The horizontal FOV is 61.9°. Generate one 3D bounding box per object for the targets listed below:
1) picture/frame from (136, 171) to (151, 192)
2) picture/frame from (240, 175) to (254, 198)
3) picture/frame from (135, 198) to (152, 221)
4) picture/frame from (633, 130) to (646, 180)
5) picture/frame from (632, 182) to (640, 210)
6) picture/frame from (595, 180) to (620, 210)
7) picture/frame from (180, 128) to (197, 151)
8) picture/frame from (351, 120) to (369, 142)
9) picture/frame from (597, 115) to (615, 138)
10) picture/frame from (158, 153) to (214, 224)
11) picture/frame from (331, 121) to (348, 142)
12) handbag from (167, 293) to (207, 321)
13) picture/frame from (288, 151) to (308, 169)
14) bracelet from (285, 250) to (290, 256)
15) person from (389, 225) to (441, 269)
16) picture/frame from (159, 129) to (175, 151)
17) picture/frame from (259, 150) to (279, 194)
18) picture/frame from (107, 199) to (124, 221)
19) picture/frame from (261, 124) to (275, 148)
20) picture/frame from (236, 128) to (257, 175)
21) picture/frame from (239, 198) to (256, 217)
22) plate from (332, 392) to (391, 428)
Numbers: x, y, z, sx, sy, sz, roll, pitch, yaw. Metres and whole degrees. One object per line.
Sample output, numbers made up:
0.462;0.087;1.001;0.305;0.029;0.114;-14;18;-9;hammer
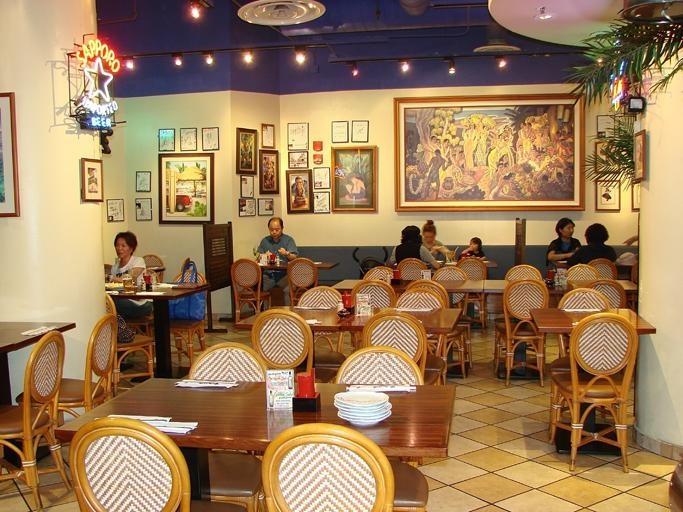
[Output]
-3.459;-1.331;10.034;0.367;0.436;0.033;2;2;8;picture/frame
-1.619;-1.220;9.926;0.061;0.383;0.351;3;8;30;picture/frame
-3.466;-0.848;10.061;0.398;0.495;0.035;3;11;11;picture/frame
2.466;-0.823;4.693;0.067;0.410;0.387;2;7;22;picture/frame
5.209;-1.020;10.055;0.098;0.445;0.249;4;9;36;picture/frame
4.699;-1.046;9.988;0.426;0.519;0.169;1;8;19;picture/frame
-2.597;-2.015;9.780;0.415;0.475;0.018;1;-2;6;picture/frame
0.370;-2.330;10.495;0.433;0.492;0.034;1;-1;1;picture/frame
4.656;-2.289;9.953;0.329;0.420;0.278;-1;7;-1;picture/frame
-2.617;-1.193;9.828;1.356;1.495;0.083;0;0;7;picture/frame
0.000;-2.333;10.548;0.413;0.448;0.032;1;4;6;picture/frame
-1.730;0.571;6.891;0.557;0.310;0.499;0;10;8;handbag
-0.776;-1.822;10.655;0.358;0.276;0.027;0;-2;-1;picture/frame
-0.876;-0.053;9.384;0.063;0.079;0.075;-3;6;1;bracelet
1.052;-0.105;8.309;0.842;0.659;0.452;6;3;20;person
-3.005;-2.040;9.904;0.402;0.447;0.034;1;6;11;picture/frame
-1.301;-1.530;10.322;0.067;0.822;0.519;3;8;30;picture/frame
-3.931;-0.816;9.902;0.041;0.400;0.420;-1;1;31;picture/frame
-1.319;-2.189;10.279;0.041;0.474;0.481;2;4;36;picture/frame
-1.624;-1.814;9.879;0.069;0.791;0.529;3;8;32;picture/frame
-1.639;-0.861;9.916;0.035;0.283;0.353;-3;0;36;picture/frame
0.101;0.733;2.750;0.161;0.068;0.164;1;2;30;plate
